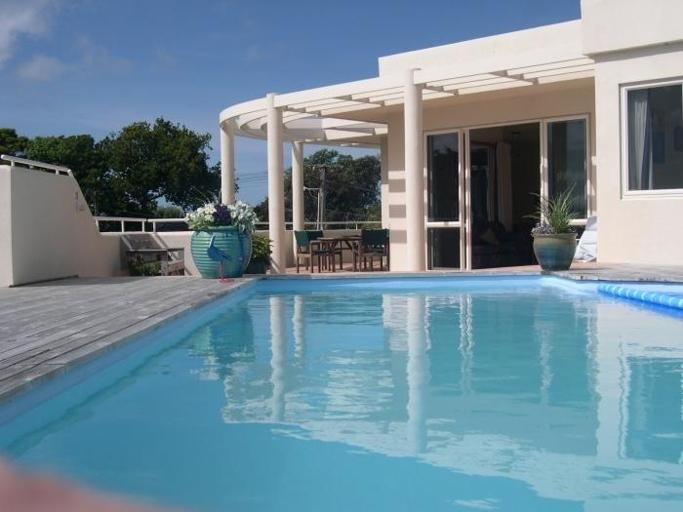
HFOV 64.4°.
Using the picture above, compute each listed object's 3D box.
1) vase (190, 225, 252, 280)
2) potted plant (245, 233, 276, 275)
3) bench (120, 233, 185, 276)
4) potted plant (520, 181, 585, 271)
[{"bbox_3d":[-1.828,-0.095,8.225,0.896,0.805,0.905,2,5,9],"label":"vase"},{"bbox_3d":[-1.505,-0.045,9.860,0.577,0.630,0.575,0,1,-42],"label":"potted plant"},{"bbox_3d":[-3.896,-0.037,11.071,0.854,0.864,1.187,3,7,28],"label":"bench"},{"bbox_3d":[3.079,-0.351,7.813,0.602,1.065,0.743,2,-1,17],"label":"potted plant"}]
